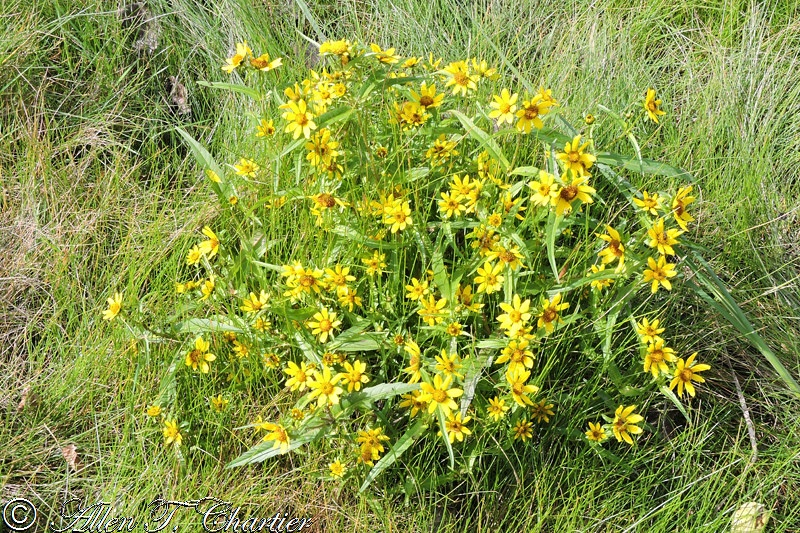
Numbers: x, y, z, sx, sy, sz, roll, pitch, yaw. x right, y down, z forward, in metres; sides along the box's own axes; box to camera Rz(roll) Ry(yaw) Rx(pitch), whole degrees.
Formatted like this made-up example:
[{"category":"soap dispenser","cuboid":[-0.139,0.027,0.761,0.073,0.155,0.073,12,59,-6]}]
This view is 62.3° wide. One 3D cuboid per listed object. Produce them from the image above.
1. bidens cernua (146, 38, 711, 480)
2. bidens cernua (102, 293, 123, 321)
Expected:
[{"category":"bidens cernua","cuboid":[0.067,-0.010,2.959,2.075,1.802,0.826,0,-6,2]},{"category":"bidens cernua","cuboid":[-1.251,0.181,2.883,0.047,0.120,0.111,28,1,-38]}]
